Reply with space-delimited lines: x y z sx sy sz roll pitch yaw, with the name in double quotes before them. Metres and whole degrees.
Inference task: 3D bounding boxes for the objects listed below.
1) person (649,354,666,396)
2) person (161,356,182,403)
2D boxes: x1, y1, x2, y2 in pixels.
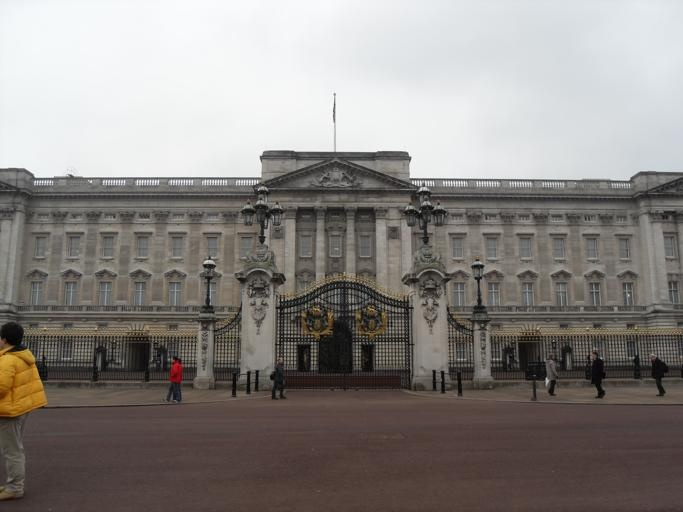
"person" 12.190 4.523 26.939 0.507 1.570 2.640 -4 -12 23
"person" -5.786 4.273 24.656 0.524 1.577 1.571 3 -11 -13
